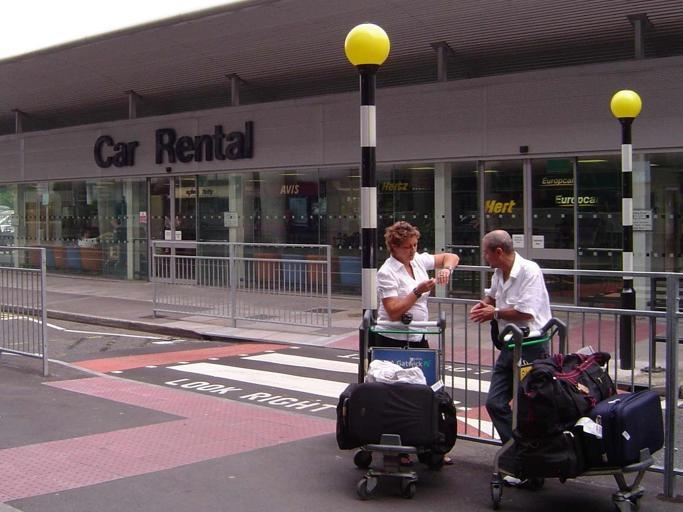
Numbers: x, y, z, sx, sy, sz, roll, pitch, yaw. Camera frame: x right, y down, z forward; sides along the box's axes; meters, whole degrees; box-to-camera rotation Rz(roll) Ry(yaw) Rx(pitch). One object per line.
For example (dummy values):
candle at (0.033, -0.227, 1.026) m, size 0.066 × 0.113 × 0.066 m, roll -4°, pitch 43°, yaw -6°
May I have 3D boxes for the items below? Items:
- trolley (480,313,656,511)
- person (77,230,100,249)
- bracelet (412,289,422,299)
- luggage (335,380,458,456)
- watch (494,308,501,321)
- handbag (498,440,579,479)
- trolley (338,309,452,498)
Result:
trolley at (2.005, 1.266, 5.783) m, size 1.463 × 1.617 × 1.401 m, roll -3°, pitch -1°, yaw 29°
person at (-9.325, -0.677, 23.911) m, size 1.069 × 0.706 × 0.190 m, roll 3°, pitch 4°, yaw 37°
bracelet at (0.728, 0.346, 6.139) m, size 0.061 × 0.095 × 0.086 m, roll -2°, pitch 4°, yaw -1°
luggage at (0.588, 1.587, 6.146) m, size 1.158 × 0.633 × 1.230 m, roll 4°, pitch -24°, yaw 5°
watch at (1.427, 0.530, 5.932) m, size 0.058 × 0.091 × 0.084 m, roll 1°, pitch -4°, yaw 10°
handbag at (1.575, 1.630, 5.195) m, size 0.362 × 0.211 × 0.438 m, roll 9°, pitch -15°, yaw -27°
trolley at (0.557, 1.309, 6.052) m, size 1.079 × 1.483 × 1.087 m, roll 0°, pitch -2°, yaw 26°
